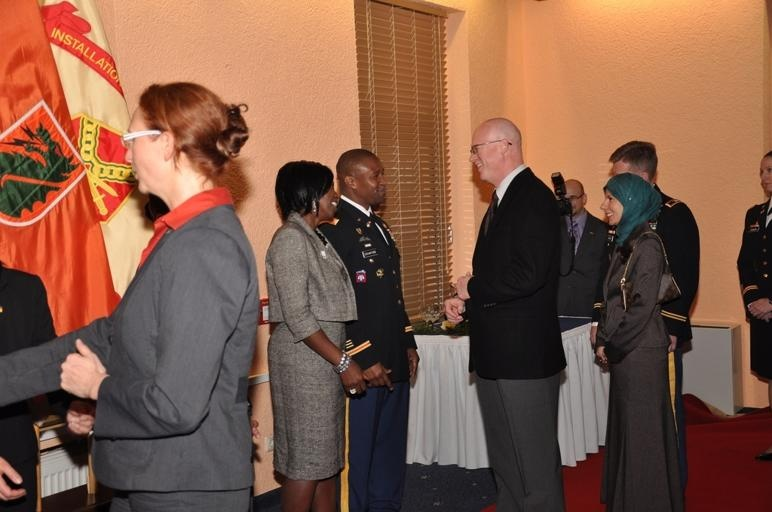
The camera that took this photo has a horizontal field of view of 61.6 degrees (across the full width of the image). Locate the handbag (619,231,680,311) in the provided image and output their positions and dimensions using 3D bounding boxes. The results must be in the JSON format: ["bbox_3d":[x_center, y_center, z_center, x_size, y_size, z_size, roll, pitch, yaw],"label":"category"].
[{"bbox_3d":[1.476,0.101,3.646,0.408,0.425,0.250,-14,13,-26],"label":"handbag"}]

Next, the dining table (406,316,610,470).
[{"bbox_3d":[0.945,0.909,4.972,1.224,0.673,1.165,-1,-1,24],"label":"dining table"}]

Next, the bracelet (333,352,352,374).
[{"bbox_3d":[-0.227,0.563,3.394,0.050,0.109,0.089,28,-24,1],"label":"bracelet"}]

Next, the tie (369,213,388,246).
[{"bbox_3d":[-0.067,-0.158,4.054,0.068,0.177,0.137,-38,-11,34],"label":"tie"}]
